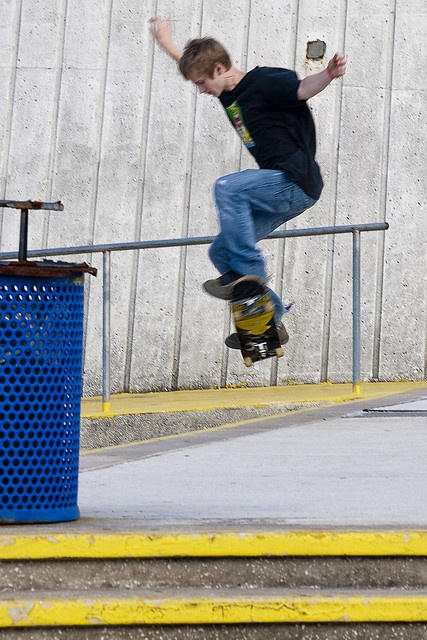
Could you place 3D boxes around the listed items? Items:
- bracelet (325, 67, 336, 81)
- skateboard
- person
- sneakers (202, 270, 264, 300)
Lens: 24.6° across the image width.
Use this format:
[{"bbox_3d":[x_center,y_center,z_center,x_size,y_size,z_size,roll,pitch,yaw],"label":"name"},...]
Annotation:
[{"bbox_3d":[0.398,-0.834,3.324,0.024,0.032,0.013,0,35,49],"label":"bracelet"},{"bbox_3d":[0.163,0.026,3.578,0.174,0.077,0.508,-11,37,-2],"label":"skateboard"},{"bbox_3d":[0.134,-0.589,3.717,0.528,1.359,1.073,6,-8,-42],"label":"person"},{"bbox_3d":[0.071,-0.127,3.575,0.242,0.080,0.098,-1,2,11],"label":"sneakers"}]
